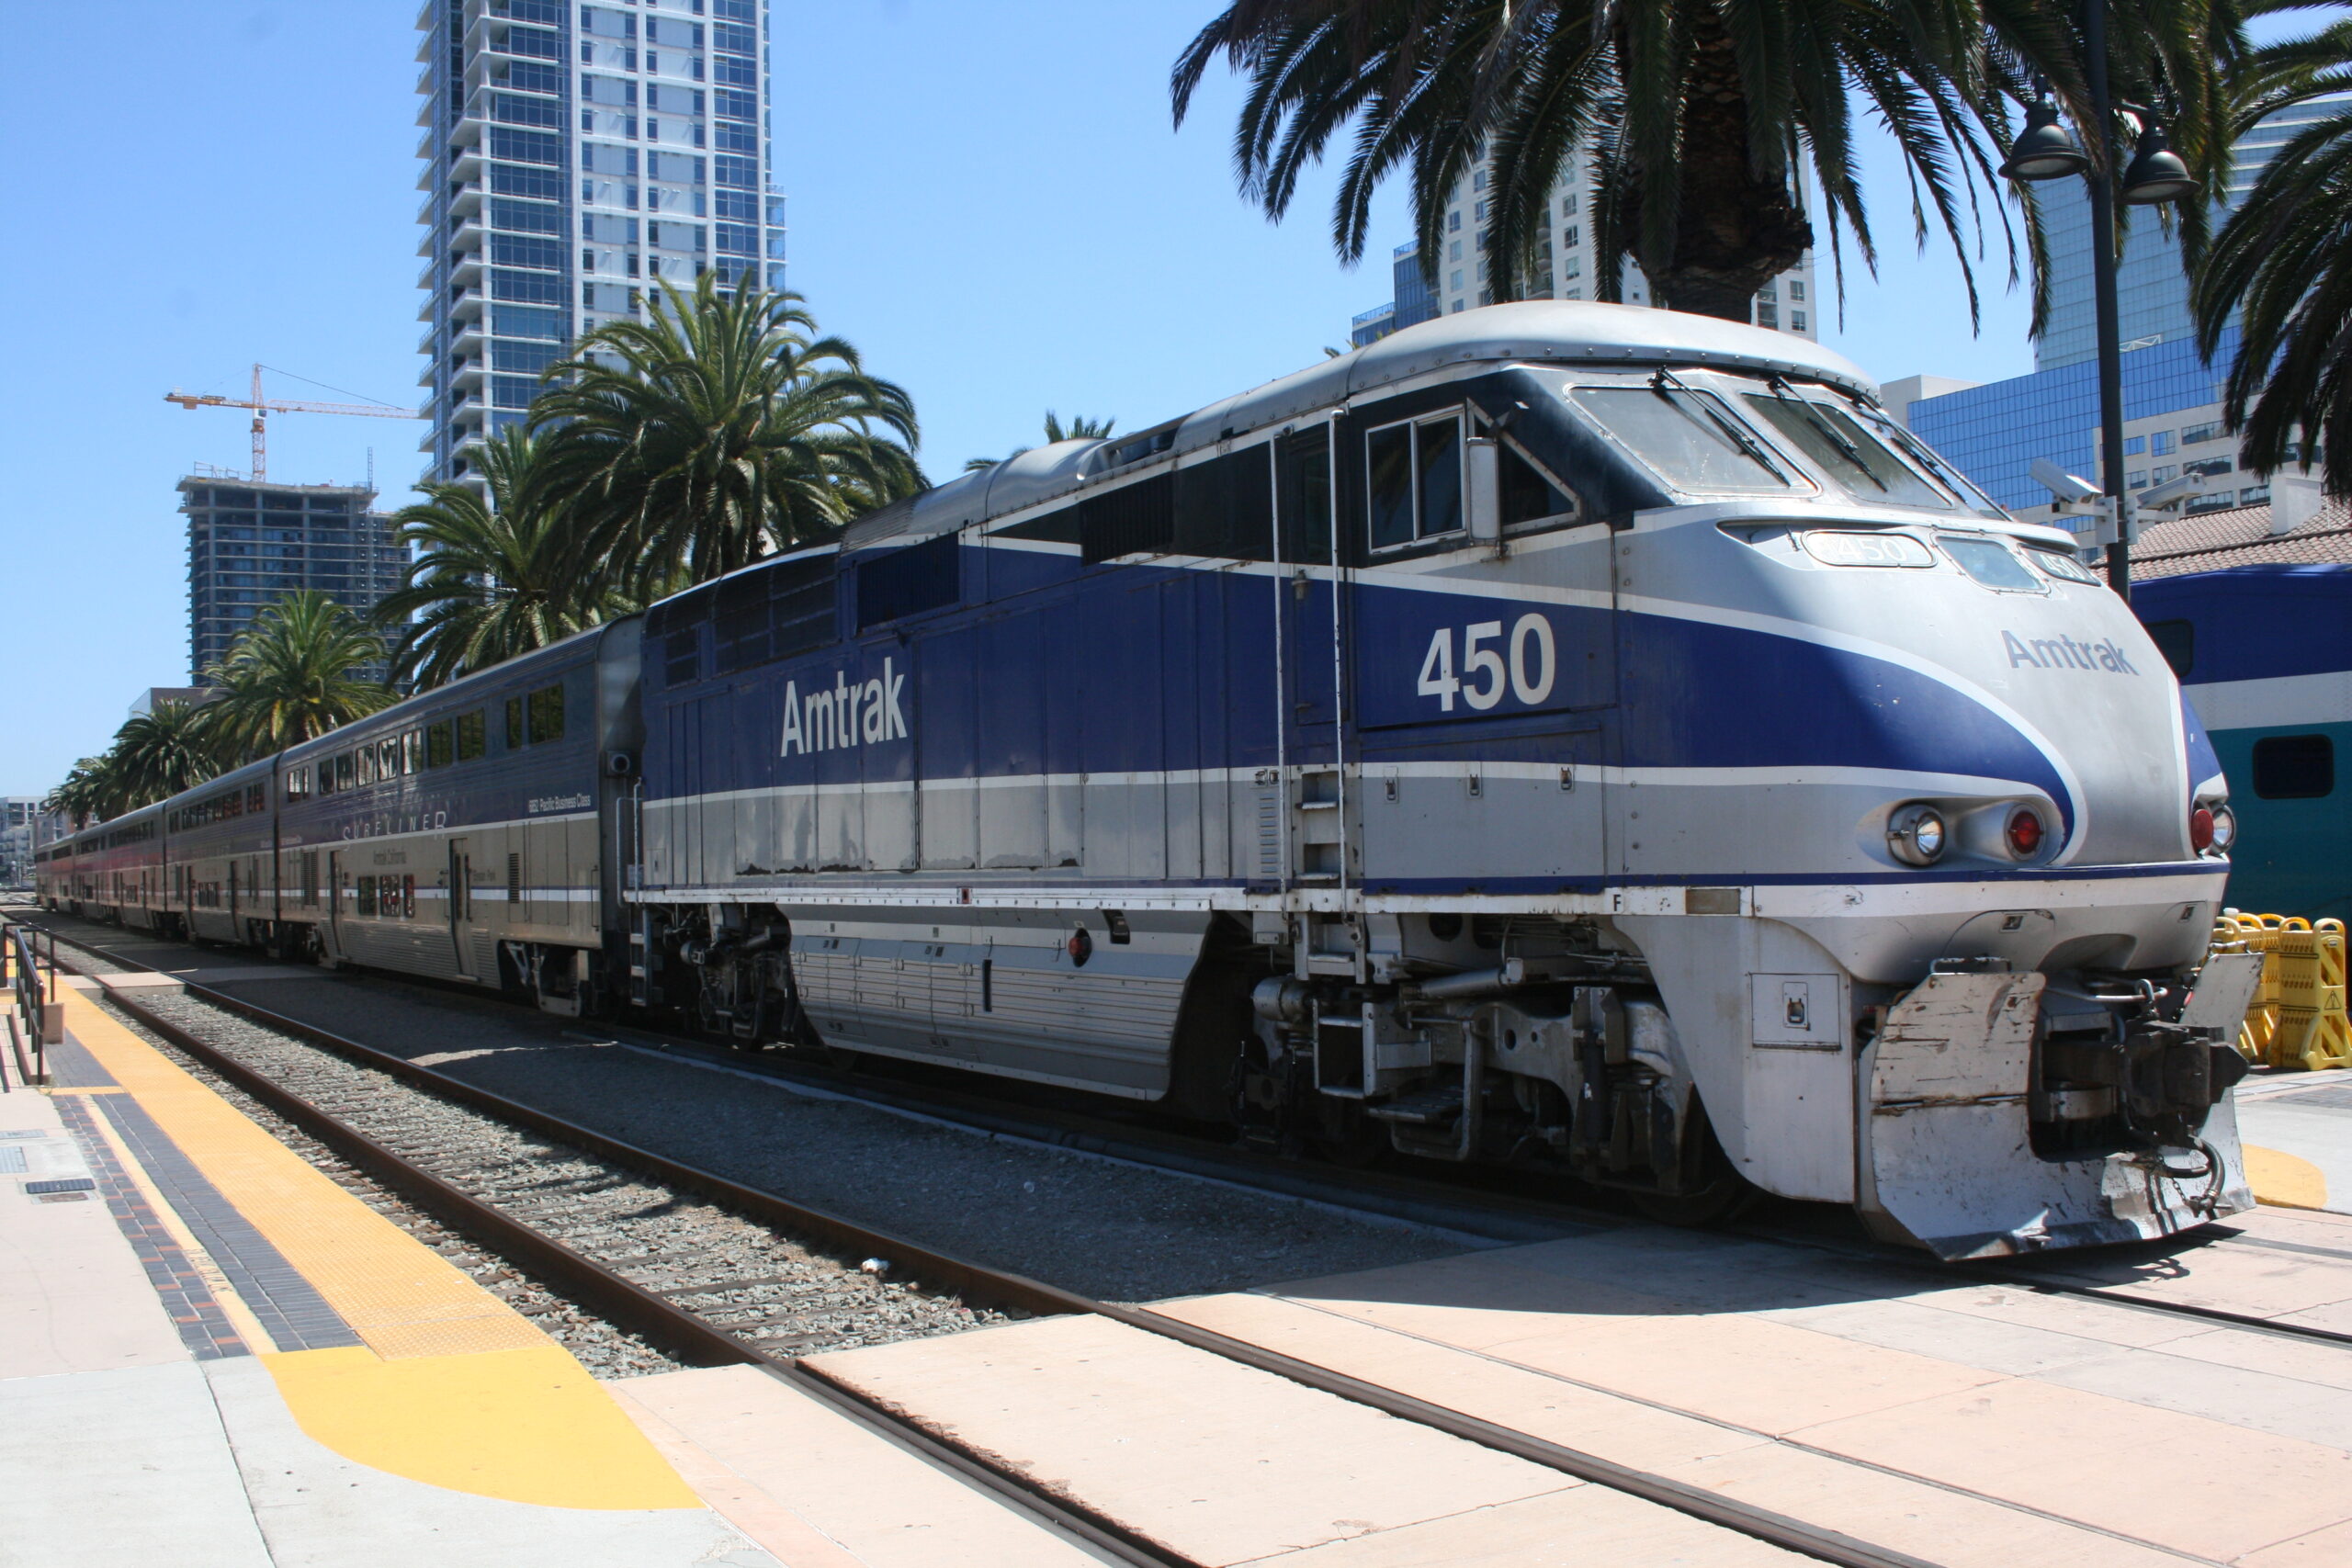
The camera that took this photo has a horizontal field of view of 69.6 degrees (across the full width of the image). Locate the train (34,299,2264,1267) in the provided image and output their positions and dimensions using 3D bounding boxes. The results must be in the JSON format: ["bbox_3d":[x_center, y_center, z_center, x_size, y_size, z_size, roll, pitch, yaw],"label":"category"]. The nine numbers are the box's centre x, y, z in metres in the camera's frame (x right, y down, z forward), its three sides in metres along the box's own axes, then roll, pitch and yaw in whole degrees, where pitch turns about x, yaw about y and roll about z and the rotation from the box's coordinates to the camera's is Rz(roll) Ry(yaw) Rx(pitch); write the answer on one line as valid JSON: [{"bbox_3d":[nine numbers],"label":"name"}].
[{"bbox_3d":[-3.257,0.137,16.098,2.905,4.219,22.880,0,-2,-45],"label":"train"}]
